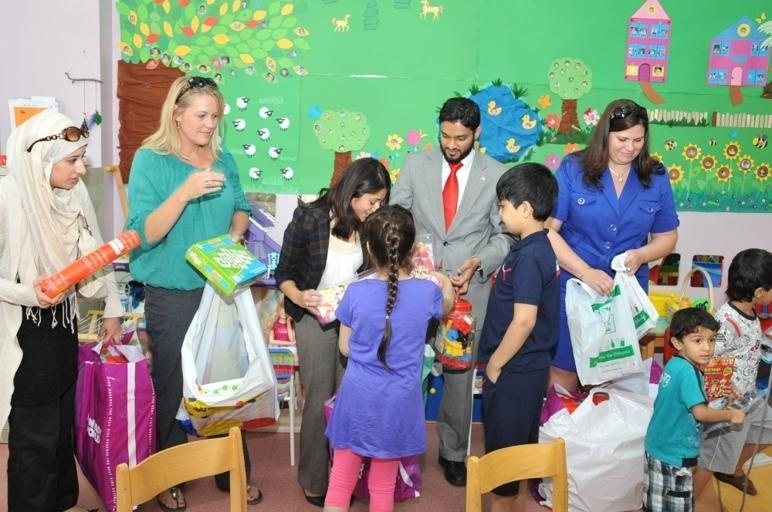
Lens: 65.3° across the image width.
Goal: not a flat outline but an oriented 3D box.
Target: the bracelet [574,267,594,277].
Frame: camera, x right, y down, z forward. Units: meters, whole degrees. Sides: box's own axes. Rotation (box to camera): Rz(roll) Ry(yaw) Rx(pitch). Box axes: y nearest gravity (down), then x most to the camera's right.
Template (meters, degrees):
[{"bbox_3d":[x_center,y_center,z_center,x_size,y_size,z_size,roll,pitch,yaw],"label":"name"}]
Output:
[{"bbox_3d":[1.076,0.084,3.283,0.077,0.023,0.059,36,-8,24],"label":"bracelet"}]

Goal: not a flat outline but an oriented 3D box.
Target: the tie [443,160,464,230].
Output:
[{"bbox_3d":[0.404,-0.352,3.599,0.073,0.518,0.076,5,-4,9],"label":"tie"}]

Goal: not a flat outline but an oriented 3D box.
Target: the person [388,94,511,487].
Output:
[{"bbox_3d":[0.408,0.207,3.684,0.753,2.256,0.742,1,17,1],"label":"person"}]

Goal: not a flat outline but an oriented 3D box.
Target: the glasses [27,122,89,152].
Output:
[{"bbox_3d":[-1.550,-0.570,2.862,0.178,0.060,0.183,-15,9,11],"label":"glasses"}]

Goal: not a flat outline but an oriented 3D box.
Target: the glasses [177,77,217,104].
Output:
[{"bbox_3d":[-0.979,-0.856,3.128,0.222,0.151,0.099,-1,5,-22],"label":"glasses"}]

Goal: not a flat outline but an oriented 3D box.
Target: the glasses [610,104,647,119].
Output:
[{"bbox_3d":[1.315,-0.778,3.243,0.130,0.048,0.083,-9,11,-29],"label":"glasses"}]

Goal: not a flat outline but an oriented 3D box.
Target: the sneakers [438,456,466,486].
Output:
[{"bbox_3d":[0.404,1.297,3.646,0.088,0.090,0.189,0,9,-31],"label":"sneakers"}]
